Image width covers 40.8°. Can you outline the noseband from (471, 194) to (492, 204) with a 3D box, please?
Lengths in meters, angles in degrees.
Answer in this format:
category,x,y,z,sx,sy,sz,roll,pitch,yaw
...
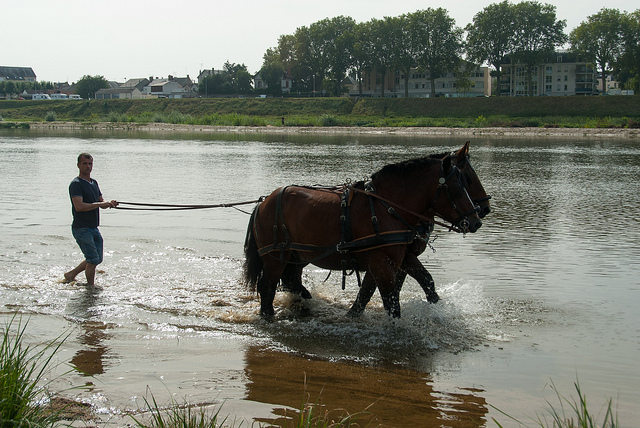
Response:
category,x,y,z,sx,sy,sz,roll,pitch,yaw
noseband,3.418,-0.313,18.202,0.484,0.142,0.095,-2,6,-20

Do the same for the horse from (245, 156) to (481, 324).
category,x,y,z,sx,sy,sz,roll,pitch,yaw
horse,1.073,0.768,19.471,5.083,3.295,1.758,-2,-5,18

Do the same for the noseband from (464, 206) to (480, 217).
category,x,y,z,sx,sy,sz,roll,pitch,yaw
noseband,3.209,-0.056,18.042,0.382,0.202,0.107,-3,7,-36
